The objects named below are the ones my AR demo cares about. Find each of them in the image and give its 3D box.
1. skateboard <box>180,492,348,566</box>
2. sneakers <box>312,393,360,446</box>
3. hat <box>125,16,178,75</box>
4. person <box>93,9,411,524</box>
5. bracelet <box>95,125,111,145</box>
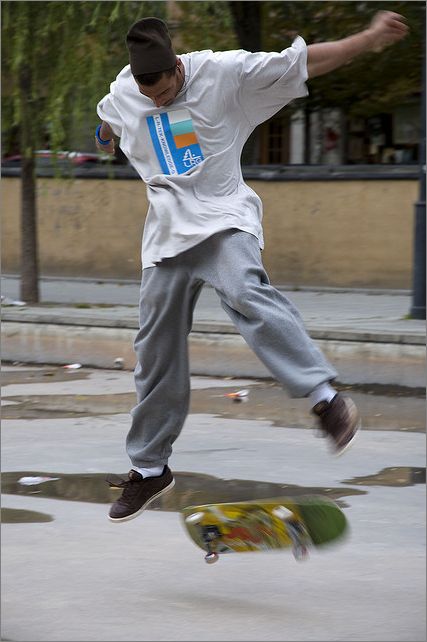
[{"bbox_3d":[0.128,0.532,2.011,0.498,0.164,0.083,0,21,28],"label":"skateboard"},{"bbox_3d":[0.366,0.309,2.291,0.137,0.173,0.125,-1,12,6],"label":"sneakers"},{"bbox_3d":[-0.197,-0.877,2.397,0.154,0.197,0.184,-3,12,-4],"label":"hat"},{"bbox_3d":[0.029,-0.164,2.518,0.943,1.643,0.543,2,13,18],"label":"person"},{"bbox_3d":[-0.418,-0.715,2.880,0.062,0.066,0.067,-2,-12,-6],"label":"bracelet"}]
